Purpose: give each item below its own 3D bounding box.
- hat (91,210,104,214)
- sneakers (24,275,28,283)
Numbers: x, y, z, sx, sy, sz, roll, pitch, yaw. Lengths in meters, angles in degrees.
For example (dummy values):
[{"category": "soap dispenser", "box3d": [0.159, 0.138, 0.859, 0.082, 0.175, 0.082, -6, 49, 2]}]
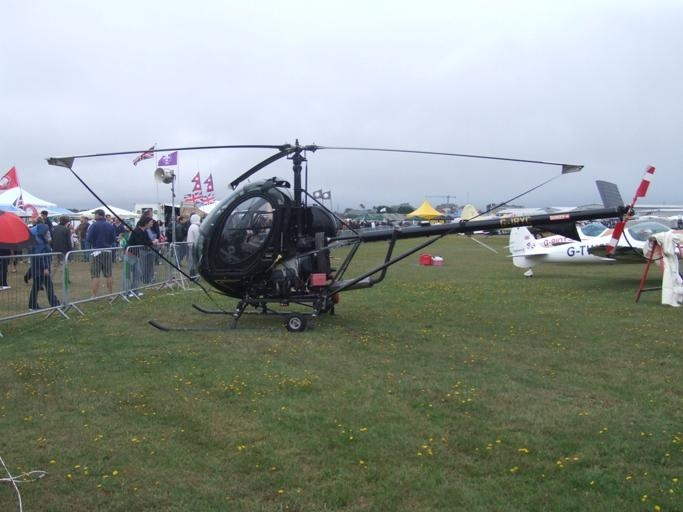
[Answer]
[{"category": "hat", "box3d": [-5.676, -1.011, 14.216, 0.187, 0.088, 0.242, 4, 7, -14]}, {"category": "sneakers", "box3d": [-6.005, 0.458, 11.565, 0.059, 0.117, 0.082, -4, 9, -26]}]
